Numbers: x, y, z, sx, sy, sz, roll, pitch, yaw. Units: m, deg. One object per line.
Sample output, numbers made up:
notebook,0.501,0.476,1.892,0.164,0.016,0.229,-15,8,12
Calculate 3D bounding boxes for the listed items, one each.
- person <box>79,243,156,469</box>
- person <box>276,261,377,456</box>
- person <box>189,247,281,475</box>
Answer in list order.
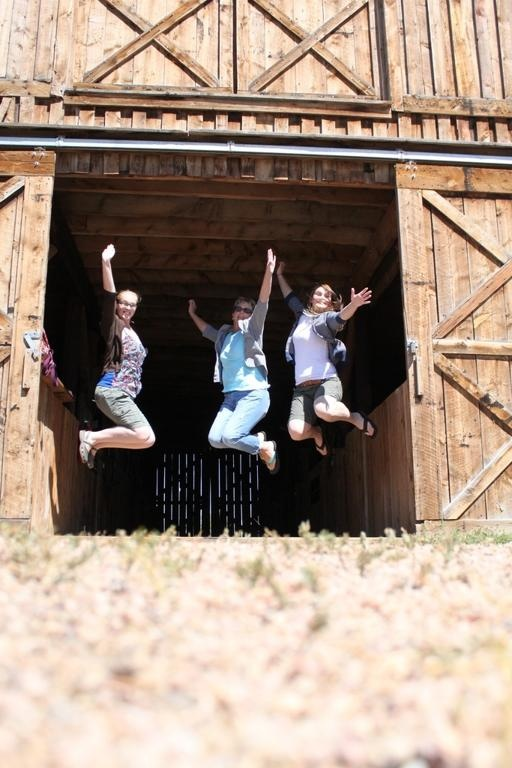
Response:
person,-1.177,-0.187,5.756,0.614,1.967,0.483,2,7,-15
person,0.704,-0.358,6.181,1.024,1.747,0.819,-13,-28,39
person,-0.084,-0.196,6.104,0.660,2.060,1.118,3,7,-5
